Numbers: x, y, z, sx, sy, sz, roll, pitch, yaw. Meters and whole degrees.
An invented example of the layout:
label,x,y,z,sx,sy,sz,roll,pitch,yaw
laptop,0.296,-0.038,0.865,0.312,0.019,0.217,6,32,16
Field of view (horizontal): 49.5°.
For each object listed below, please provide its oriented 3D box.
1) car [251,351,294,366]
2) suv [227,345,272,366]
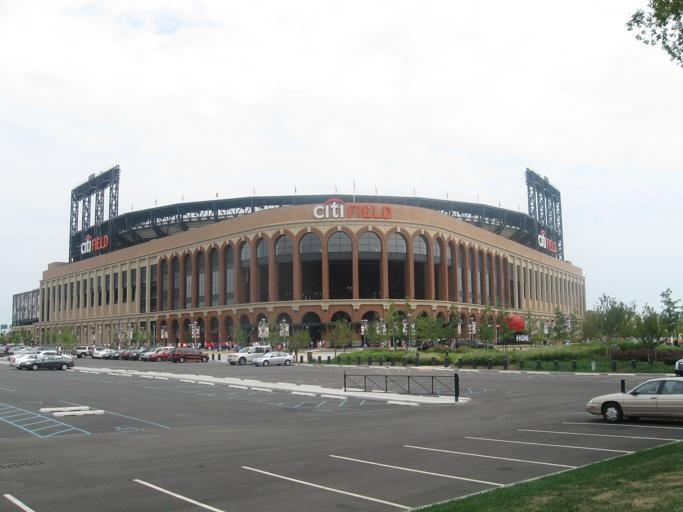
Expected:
label,x,y,z,sx,sy,sz,roll,pitch,yaw
car,-6.138,9.373,67.073,3.037,1.046,1.397,7,-10,-31
suv,-8.713,9.255,68.936,3.508,1.369,1.617,7,-12,-44
